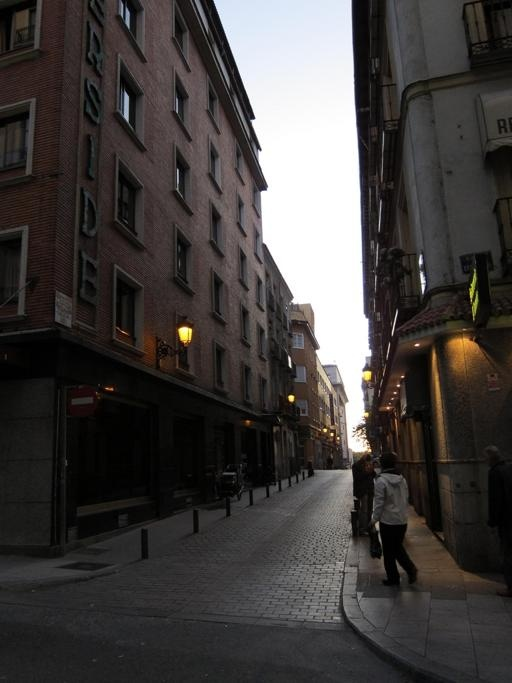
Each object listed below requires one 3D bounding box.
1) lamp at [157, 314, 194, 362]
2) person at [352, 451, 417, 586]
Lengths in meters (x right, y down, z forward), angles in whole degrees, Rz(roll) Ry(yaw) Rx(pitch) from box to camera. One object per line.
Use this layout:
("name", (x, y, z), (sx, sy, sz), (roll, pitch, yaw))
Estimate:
("lamp", (-2.406, -0.082, 15.110), (0.998, 1.853, 0.631), (-1, 22, -21))
("person", (1.707, 2.267, 6.423), (0.499, 1.642, 0.849), (-9, -12, 24))
